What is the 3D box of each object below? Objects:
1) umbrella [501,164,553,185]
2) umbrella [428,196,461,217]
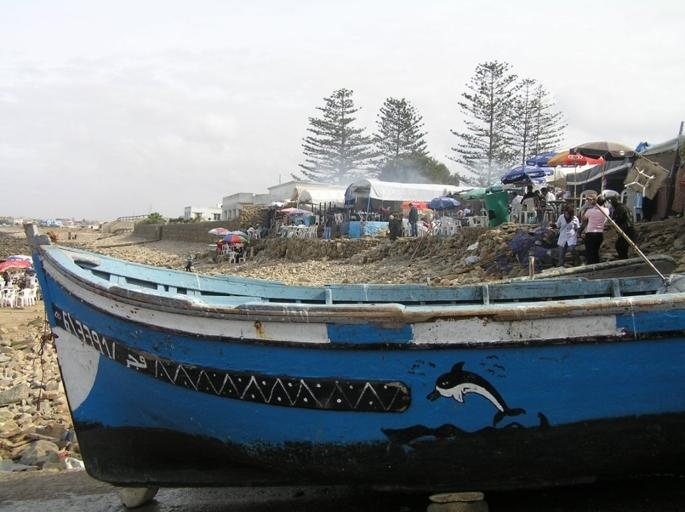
[{"bbox_3d":[6.001,-2.673,20.763,1.424,0.630,1.467,5,8,39],"label":"umbrella"},{"bbox_3d":[3.934,-2.001,24.290,1.322,0.579,1.313,0,7,19],"label":"umbrella"}]
